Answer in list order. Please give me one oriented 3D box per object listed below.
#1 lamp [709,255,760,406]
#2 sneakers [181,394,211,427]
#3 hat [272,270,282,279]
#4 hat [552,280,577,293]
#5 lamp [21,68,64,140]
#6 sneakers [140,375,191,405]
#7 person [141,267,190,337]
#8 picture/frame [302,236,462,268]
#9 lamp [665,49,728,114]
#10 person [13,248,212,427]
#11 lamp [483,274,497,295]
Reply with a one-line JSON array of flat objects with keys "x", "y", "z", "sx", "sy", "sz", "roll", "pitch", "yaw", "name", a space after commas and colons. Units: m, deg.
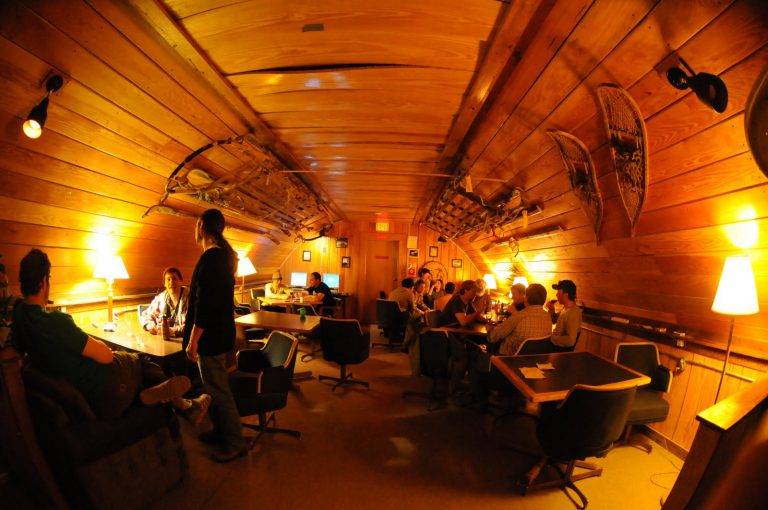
[{"x": 3.067, "y": 0.638, "z": 4.340, "sx": 0.335, "sy": 1.271, "sz": 0.566, "roll": 0, "pitch": -6, "yaw": 34, "name": "lamp"}, {"x": -1.683, "y": 1.378, "z": 4.568, "sx": 0.169, "sy": 0.148, "sz": 0.418, "roll": 31, "pitch": 6, "yaw": -5, "name": "sneakers"}, {"x": -1.868, "y": 0.352, "z": 8.771, "sx": 0.175, "sy": 0.140, "sz": 0.232, "roll": 22, "pitch": -1, "yaw": -14, "name": "hat"}, {"x": 2.018, "y": 0.343, "z": 5.595, "sx": 0.210, "sy": 0.104, "sz": 0.145, "roll": 8, "pitch": 4, "yaw": 41, "name": "hat"}, {"x": -2.833, "y": -1.279, "z": 4.104, "sx": 0.138, "sy": 0.140, "sz": 0.627, "roll": 20, "pitch": 33, "yaw": -29, "name": "lamp"}, {"x": -1.861, "y": 1.167, "z": 4.318, "sx": 0.417, "sy": 0.201, "sz": 0.173, "roll": -22, "pitch": 22, "yaw": -32, "name": "sneakers"}, {"x": -2.423, "y": 0.539, "z": 5.614, "sx": 0.585, "sy": 0.791, "sz": 0.483, "roll": 3, "pitch": 6, "yaw": -25, "name": "person"}, {"x": -0.004, "y": -0.044, "z": 9.902, "sx": 3.040, "sy": 0.720, "sz": 0.241, "roll": 3, "pitch": -5, "yaw": 3, "name": "picture/frame"}, {"x": 2.300, "y": -1.267, "z": 3.684, "sx": 0.391, "sy": 0.454, "sz": 0.205, "roll": 0, "pitch": -5, "yaw": 28, "name": "lamp"}, {"x": -2.447, "y": 0.657, "z": 4.126, "sx": 1.038, "sy": 1.341, "sz": 0.316, "roll": 7, "pitch": -6, "yaw": -37, "name": "person"}, {"x": 1.764, "y": 0.488, "z": 8.376, "sx": 0.305, "sy": 0.305, "sz": 0.284, "roll": -4, "pitch": 9, "yaw": 2, "name": "lamp"}]
